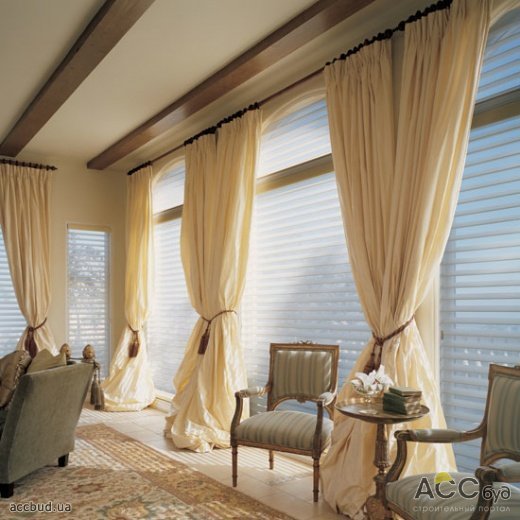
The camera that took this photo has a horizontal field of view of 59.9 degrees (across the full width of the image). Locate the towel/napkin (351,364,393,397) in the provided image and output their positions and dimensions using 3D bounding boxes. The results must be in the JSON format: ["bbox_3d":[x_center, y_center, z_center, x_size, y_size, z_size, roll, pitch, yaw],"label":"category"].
[{"bbox_3d":[0.586,0.616,2.450,0.208,0.086,0.207,3,-3,-11],"label":"towel/napkin"}]

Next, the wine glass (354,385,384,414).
[{"bbox_3d":[0.595,0.750,2.413,0.154,0.112,0.144,0,-7,5],"label":"wine glass"}]

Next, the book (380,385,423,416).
[{"bbox_3d":[0.713,0.693,2.283,0.146,0.089,0.142,2,-4,-27],"label":"book"}]

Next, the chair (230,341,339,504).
[{"bbox_3d":[0.186,1.070,3.107,0.646,0.921,0.593,-1,-7,20],"label":"chair"}]
